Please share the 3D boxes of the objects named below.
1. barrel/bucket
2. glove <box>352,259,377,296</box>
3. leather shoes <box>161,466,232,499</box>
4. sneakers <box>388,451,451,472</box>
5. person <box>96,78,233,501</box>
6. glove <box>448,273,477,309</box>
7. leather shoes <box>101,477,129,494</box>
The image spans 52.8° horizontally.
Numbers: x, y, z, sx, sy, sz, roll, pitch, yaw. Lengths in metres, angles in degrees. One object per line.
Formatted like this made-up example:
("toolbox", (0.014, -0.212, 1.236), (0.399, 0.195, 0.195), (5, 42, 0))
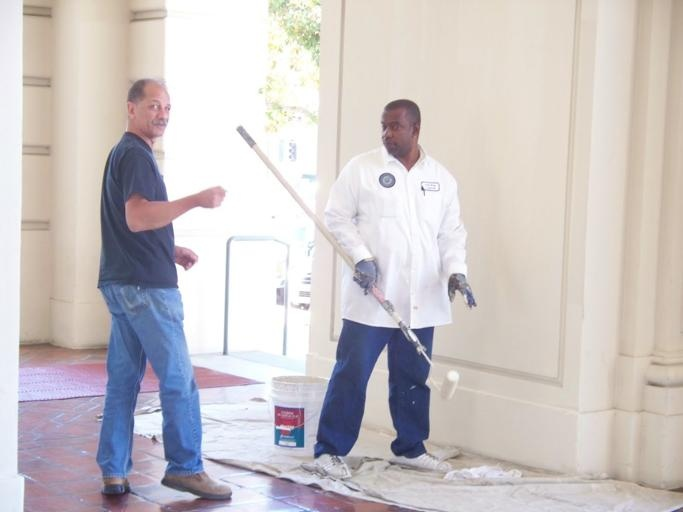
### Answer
("barrel/bucket", (-0.277, 0.920, 4.100), (0.392, 0.403, 0.397), (3, -2, 0))
("glove", (0.123, 0.115, 3.516), (0.119, 0.169, 0.070), (5, -6, -18))
("leather shoes", (-0.682, 1.086, 3.302), (0.337, 0.157, 0.129), (12, -2, -10))
("sneakers", (0.451, 1.157, 3.861), (0.307, 0.128, 0.108), (2, -4, 3))
("person", (-0.891, 0.163, 3.236), (0.698, 2.000, 0.383), (3, 4, 23))
("glove", (0.644, 0.166, 3.635), (0.139, 0.196, 0.051), (-16, 2, 39))
("leather shoes", (-1.091, 1.107, 3.274), (0.058, 0.061, 0.140), (0, -1, -1))
